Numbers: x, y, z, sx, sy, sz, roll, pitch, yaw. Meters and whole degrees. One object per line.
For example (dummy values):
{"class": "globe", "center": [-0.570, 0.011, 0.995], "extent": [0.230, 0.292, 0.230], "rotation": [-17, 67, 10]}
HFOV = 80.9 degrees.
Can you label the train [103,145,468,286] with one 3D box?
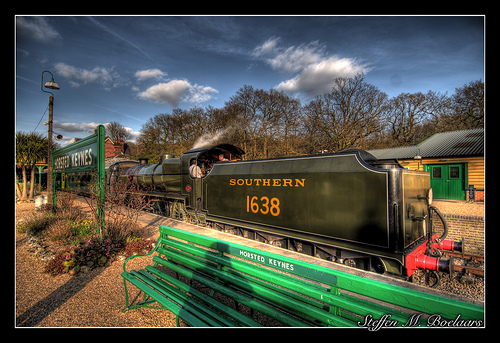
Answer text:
{"class": "train", "center": [-0.767, 0.680, 10.102], "extent": [13.020, 2.529, 2.190], "rotation": [2, 4, 40]}
